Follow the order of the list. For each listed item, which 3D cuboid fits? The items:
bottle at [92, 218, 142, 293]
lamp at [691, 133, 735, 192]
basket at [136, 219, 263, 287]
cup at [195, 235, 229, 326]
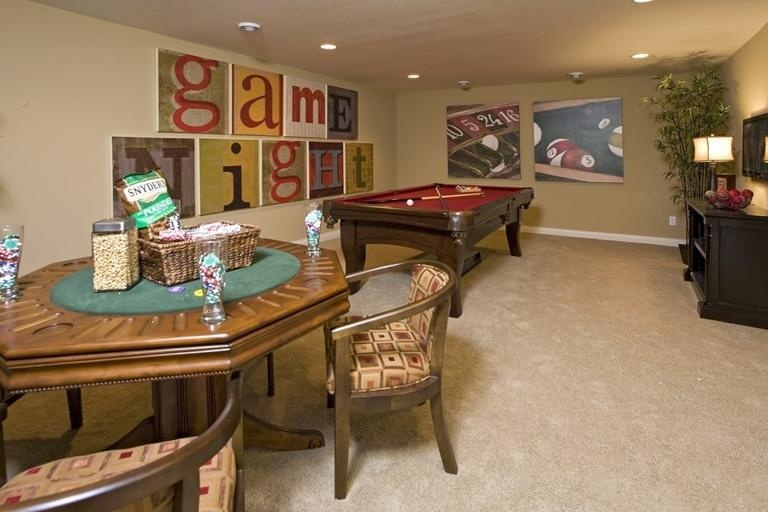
[{"bbox_3d":[-1.344,-0.012,2.511,0.242,0.314,0.231,2,11,0],"label":"bottle"},{"bbox_3d":[3.647,-1.044,5.547,0.344,0.576,0.641,7,15,37],"label":"lamp"},{"bbox_3d":[-1.009,-0.042,2.724,0.424,0.206,0.573,7,16,44],"label":"basket"},{"bbox_3d":[-0.751,0.091,2.243,0.125,0.384,0.207,0,13,9],"label":"cup"}]
